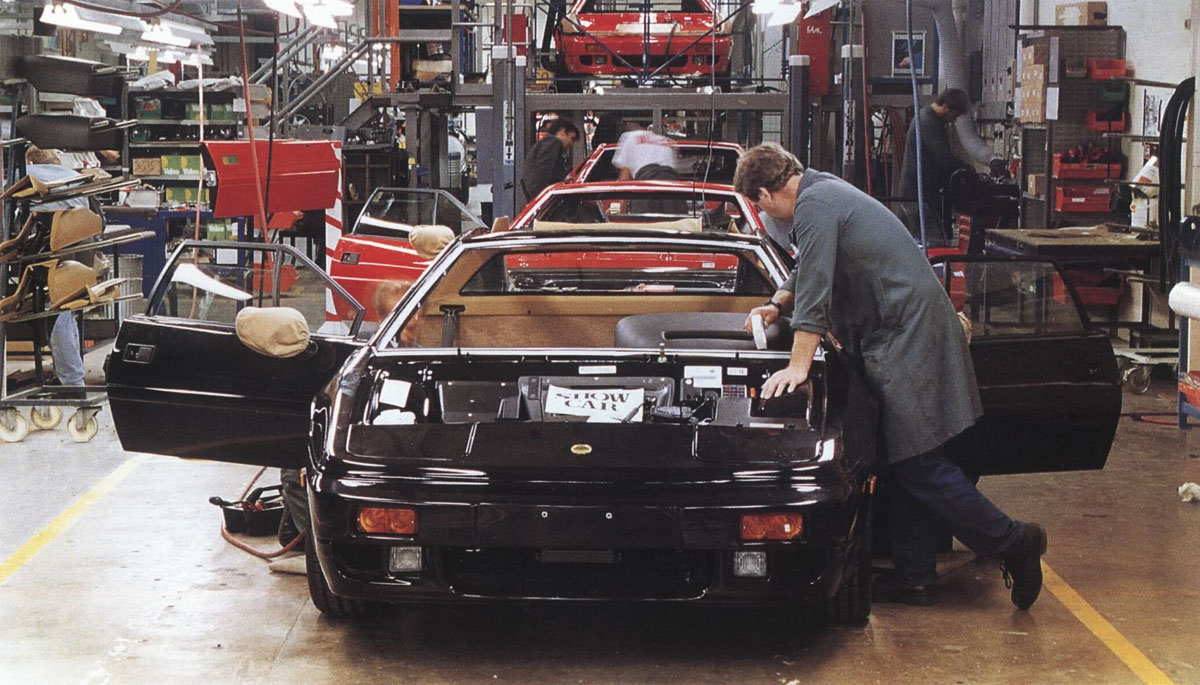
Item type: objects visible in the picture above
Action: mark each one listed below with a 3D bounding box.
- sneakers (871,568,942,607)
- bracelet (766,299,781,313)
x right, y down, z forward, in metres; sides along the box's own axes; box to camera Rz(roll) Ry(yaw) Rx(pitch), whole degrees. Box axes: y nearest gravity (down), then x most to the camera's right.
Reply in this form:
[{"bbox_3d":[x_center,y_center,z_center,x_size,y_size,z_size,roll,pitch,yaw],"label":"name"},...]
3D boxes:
[{"bbox_3d":[2.197,1.807,10.886,0.529,0.204,0.199,8,-18,3],"label":"sneakers"},{"bbox_3d":[1.252,-0.265,10.773,0.086,0.083,0.057,-1,-3,-10],"label":"bracelet"}]
